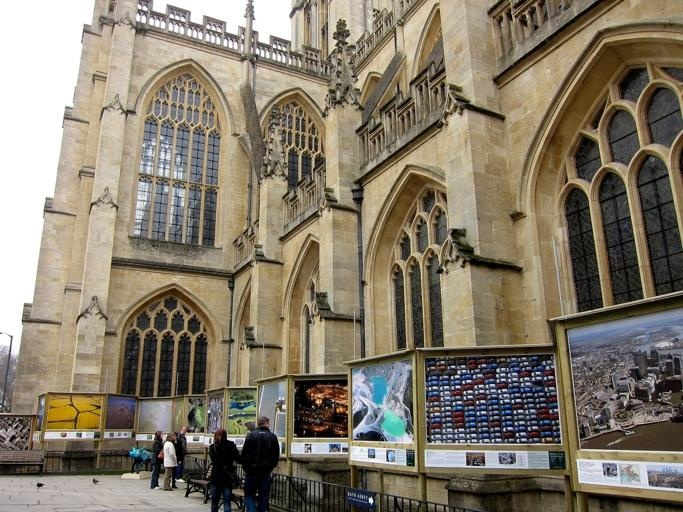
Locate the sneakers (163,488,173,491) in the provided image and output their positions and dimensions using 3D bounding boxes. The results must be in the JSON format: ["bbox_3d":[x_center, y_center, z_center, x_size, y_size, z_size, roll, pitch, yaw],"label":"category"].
[{"bbox_3d":[-4.557,6.120,14.424,0.200,0.088,0.089,3,-41,0],"label":"sneakers"}]

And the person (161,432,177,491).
[{"bbox_3d":[-4.592,5.477,14.696,0.383,1.424,1.386,3,-18,-16],"label":"person"}]
